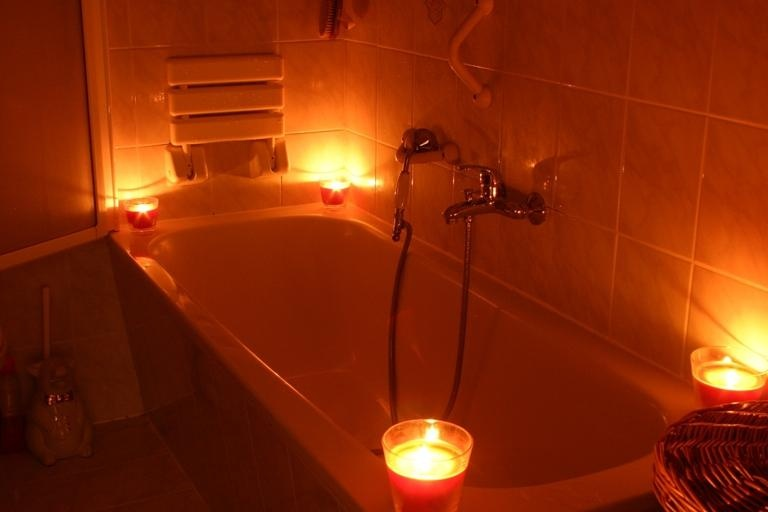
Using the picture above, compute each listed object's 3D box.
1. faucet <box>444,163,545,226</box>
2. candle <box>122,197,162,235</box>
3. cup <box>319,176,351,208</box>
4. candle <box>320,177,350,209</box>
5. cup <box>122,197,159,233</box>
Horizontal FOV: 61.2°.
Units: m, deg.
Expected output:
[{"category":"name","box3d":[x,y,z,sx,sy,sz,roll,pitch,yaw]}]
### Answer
[{"category":"faucet","box3d":[0.363,-0.224,2.033,0.219,0.201,0.141,4,-70,9]},{"category":"candle","box3d":[-0.920,-0.150,2.459,0.105,0.131,0.108,-1,-80,-10]},{"category":"cup","box3d":[-0.211,-0.270,2.731,0.092,0.116,0.092,0,-74,0]},{"category":"candle","box3d":[-0.206,-0.263,2.771,0.091,0.113,0.089,5,-78,13]},{"category":"cup","box3d":[-0.936,-0.148,2.512,0.139,0.129,0.128,-7,-76,-28]}]
